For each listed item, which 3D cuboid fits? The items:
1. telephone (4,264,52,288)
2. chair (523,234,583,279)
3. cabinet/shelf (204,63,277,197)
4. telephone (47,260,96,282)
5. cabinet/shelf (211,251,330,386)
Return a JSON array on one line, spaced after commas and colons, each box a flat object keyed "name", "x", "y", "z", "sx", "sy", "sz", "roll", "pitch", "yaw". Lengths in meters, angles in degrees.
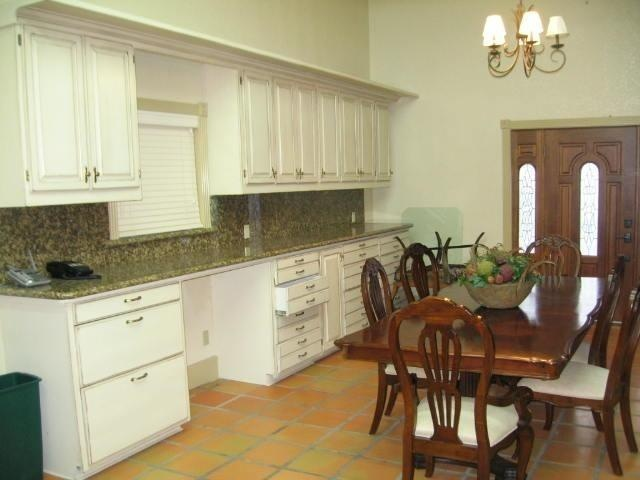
[{"name": "telephone", "x": -1.870, "y": 0.197, "z": 3.200, "sx": 0.241, "sy": 0.098, "sz": 0.149, "roll": 15, "pitch": 15, "yaw": 30}, {"name": "chair", "x": 2.457, "y": 0.172, "z": 5.167, "sx": 0.477, "sy": 0.787, "sz": 0.541, "roll": -1, "pitch": -2, "yaw": 28}, {"name": "cabinet/shelf", "x": -0.697, "y": -1.057, "z": 4.710, "sx": 0.387, "sy": 1.120, "sz": 0.559, "roll": 11, "pitch": 21, "yaw": 32}, {"name": "telephone", "x": -1.674, "y": 0.182, "z": 3.363, "sx": 0.234, "sy": 0.080, "sz": 0.172, "roll": 3, "pitch": 4, "yaw": 12}, {"name": "cabinet/shelf", "x": -0.441, "y": 0.626, "z": 5.043, "sx": 1.037, "sy": 1.490, "sz": 1.065, "roll": 1, "pitch": 7, "yaw": 26}]
